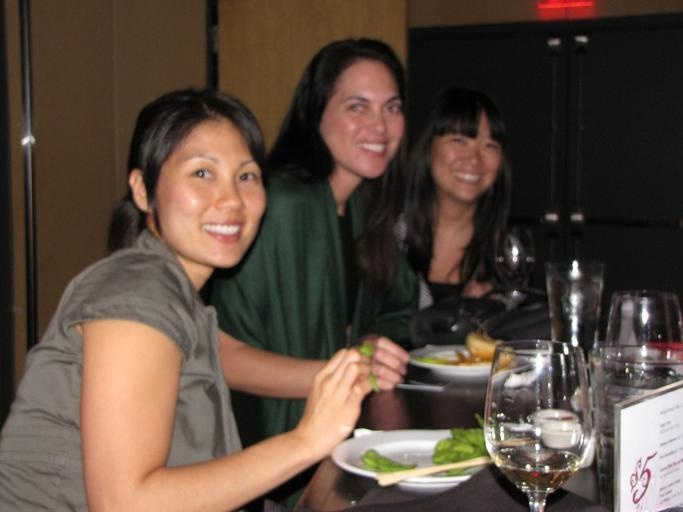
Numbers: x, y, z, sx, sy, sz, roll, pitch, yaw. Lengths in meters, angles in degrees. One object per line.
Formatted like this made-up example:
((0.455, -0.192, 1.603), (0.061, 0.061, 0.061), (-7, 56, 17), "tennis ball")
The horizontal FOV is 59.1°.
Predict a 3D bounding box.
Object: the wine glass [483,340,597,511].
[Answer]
((0.278, 0.239, 0.850), (0.125, 0.224, 0.119), (0, 0, 44), "wine glass")
